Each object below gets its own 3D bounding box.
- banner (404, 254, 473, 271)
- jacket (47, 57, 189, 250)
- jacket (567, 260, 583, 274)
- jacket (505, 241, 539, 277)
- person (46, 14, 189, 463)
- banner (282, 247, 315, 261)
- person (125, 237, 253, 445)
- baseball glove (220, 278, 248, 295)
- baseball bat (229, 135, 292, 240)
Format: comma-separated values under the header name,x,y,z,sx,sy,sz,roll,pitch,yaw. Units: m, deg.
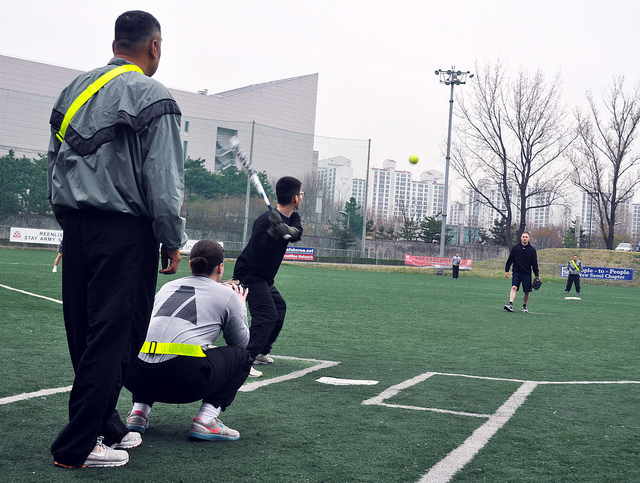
name,x,y,z,sx,sy,sz,roll,pitch,yaw
banner,7.843,1.429,38.980,4.191,1.074,2.515,3,0,10
jacket,-1.371,-0.538,3.778,0.941,1.318,0.660,-1,-7,9
jacket,10.528,1.056,23.879,0.428,0.602,0.993,3,0,20
jacket,4.962,0.422,13.851,0.358,0.891,0.895,-10,12,-34
person,-1.295,-0.053,3.657,0.851,2.748,0.505,3,0,-19
banner,-1.344,0.805,38.669,1.870,0.910,1.234,3,0,-6
person,-0.945,0.739,4.380,1.093,1.444,1.009,11,-13,-40
baseball glove,-0.707,0.378,4.840,0.272,0.102,0.201,8,-3,-12
baseball bat,-0.439,-0.328,4.926,0.189,1.249,0.108,-37,32,-17
